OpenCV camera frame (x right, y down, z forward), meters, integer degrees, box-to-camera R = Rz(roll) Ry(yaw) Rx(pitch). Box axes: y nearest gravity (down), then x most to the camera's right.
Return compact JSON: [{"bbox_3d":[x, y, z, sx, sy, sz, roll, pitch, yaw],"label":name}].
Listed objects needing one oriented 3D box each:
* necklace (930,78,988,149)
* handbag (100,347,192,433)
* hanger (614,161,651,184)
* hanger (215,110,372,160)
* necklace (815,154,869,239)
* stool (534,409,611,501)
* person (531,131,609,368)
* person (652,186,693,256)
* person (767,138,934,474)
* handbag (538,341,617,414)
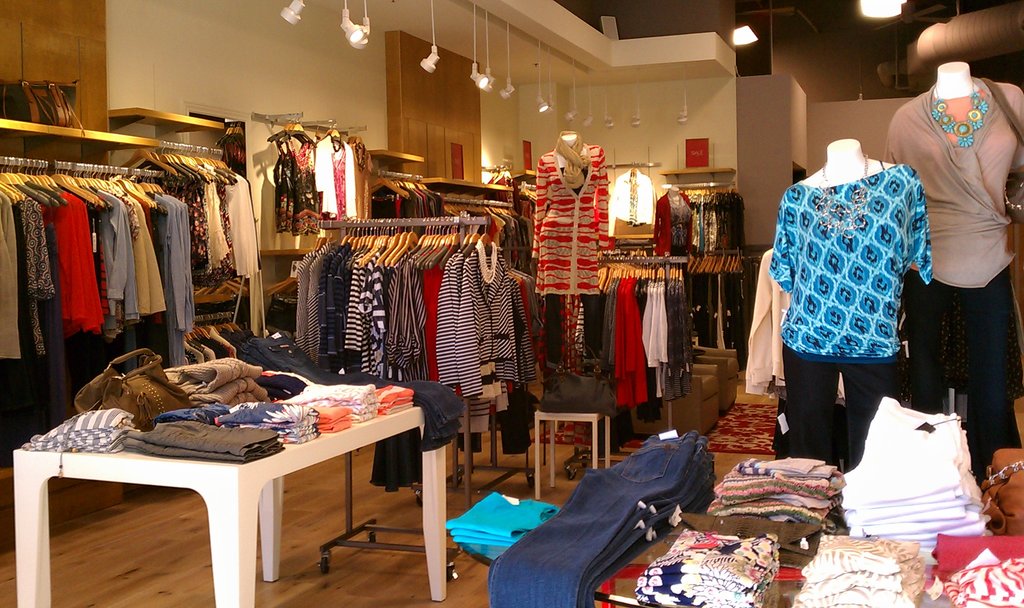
[{"bbox_3d":[2.338,-1.008,3.979,0.259,0.358,0.095,-2,-5,17],"label":"necklace"},{"bbox_3d":[-1.753,0.390,3.784,0.405,0.221,0.377,-14,-39,14],"label":"handbag"},{"bbox_3d":[1.699,-1.950,10.937,0.590,0.246,0.519,-2,4,9],"label":"hanger"},{"bbox_3d":[-2.039,-1.671,7.326,0.508,0.434,1.496,0,5,34],"label":"hanger"},{"bbox_3d":[1.649,-0.624,3.825,0.318,0.087,0.523,0,27,23],"label":"necklace"},{"bbox_3d":[0.430,1.171,6.092,0.676,0.712,0.669,-1,-4,15],"label":"stool"},{"bbox_3d":[0.522,-0.462,6.639,0.663,2.023,0.427,-2,4,1],"label":"person"},{"bbox_3d":[2.079,-1.082,9.967,0.374,0.871,0.816,0,5,33],"label":"person"},{"bbox_3d":[1.653,0.009,3.742,0.709,1.632,0.389,-1,4,26],"label":"person"},{"bbox_3d":[0.534,0.657,6.152,0.572,0.320,0.900,-2,4,7],"label":"handbag"}]
